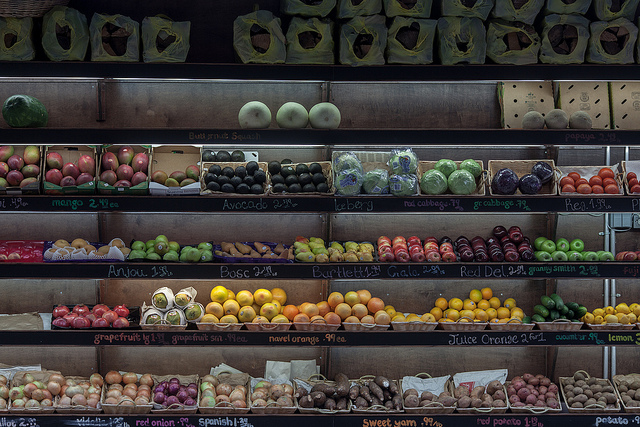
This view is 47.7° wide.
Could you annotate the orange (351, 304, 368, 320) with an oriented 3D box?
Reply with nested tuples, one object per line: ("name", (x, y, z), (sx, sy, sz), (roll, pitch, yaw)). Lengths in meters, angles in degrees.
("orange", (0.409, 0.993, 7.391), (0.130, 0.141, 0.139), (0, 2, -41))

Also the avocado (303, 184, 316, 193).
("avocado", (-0.107, -0.258, 7.247), (0.073, 0.052, 0.090), (2, 8, 16))

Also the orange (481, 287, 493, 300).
("orange", (1.777, 0.846, 7.682), (0.105, 0.112, 0.109), (-17, 3, 7))

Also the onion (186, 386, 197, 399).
("onion", (-1.287, 1.792, 7.266), (0.107, 0.117, 0.053), (2, -13, -12))

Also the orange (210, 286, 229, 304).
("orange", (-1.030, 0.830, 7.480), (0.178, 0.178, 0.091), (1, -13, -11))

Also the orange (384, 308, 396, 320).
("orange", (0.729, 1.025, 7.490), (0.088, 0.094, 0.108), (8, 9, -14))

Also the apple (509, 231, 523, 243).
("apple", (2.029, 0.236, 7.465), (0.110, 0.118, 0.105), (-1, -6, 3))

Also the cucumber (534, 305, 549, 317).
("cucumber", (2.290, 0.984, 7.461), (0.121, 0.092, 0.064), (32, -25, 43))

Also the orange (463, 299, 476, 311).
("orange", (1.573, 0.956, 7.587), (0.117, 0.111, 0.073), (0, -13, -4))

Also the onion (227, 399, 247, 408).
("onion", (-0.789, 1.883, 7.187), (0.111, 0.065, 0.090), (4, 2, 36))

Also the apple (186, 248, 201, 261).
("apple", (-1.262, 0.414, 7.261), (0.116, 0.118, 0.107), (-27, -18, -14))

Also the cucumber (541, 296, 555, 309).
("cucumber", (2.364, 0.913, 7.486), (0.088, 0.066, 0.118), (-6, 27, -28))

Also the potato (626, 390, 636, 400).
("potato", (3.158, 1.820, 7.322), (0.071, 0.076, 0.089), (6, 10, -3))

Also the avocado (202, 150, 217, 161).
("avocado", (-1.144, -0.611, 7.473), (0.107, 0.116, 0.066), (6, -33, -14))

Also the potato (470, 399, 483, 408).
("potato", (1.574, 1.896, 7.233), (0.128, 0.080, 0.048), (4, -14, -21))

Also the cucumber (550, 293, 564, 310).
("cucumber", (2.470, 0.912, 7.511), (0.126, 0.170, 0.127), (2, -13, -12))

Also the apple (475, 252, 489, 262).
("apple", (1.655, 0.438, 7.345), (0.152, 0.090, 0.077), (0, -13, -4))

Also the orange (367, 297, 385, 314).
("orange", (0.582, 0.937, 7.515), (0.138, 0.135, 0.140), (19, -28, -14))

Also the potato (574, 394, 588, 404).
("potato", (2.643, 1.868, 7.306), (0.127, 0.087, 0.040), (0, -13, -6))

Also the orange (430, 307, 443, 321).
("orange", (1.229, 1.048, 7.557), (0.109, 0.134, 0.110), (-5, -1, -44))

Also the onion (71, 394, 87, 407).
("onion", (-2.374, 1.837, 7.136), (0.150, 0.110, 0.041), (3, -14, -17))

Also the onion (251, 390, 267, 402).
("onion", (-0.612, 1.822, 7.256), (0.092, 0.066, 0.112), (2, 1, 38))

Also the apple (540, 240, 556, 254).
("apple", (2.363, 0.324, 7.455), (0.112, 0.113, 0.117), (14, 36, 28))

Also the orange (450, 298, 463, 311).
("orange", (1.440, 0.950, 7.598), (0.108, 0.118, 0.113), (2, -8, -9))

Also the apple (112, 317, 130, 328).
("apple", (-2.001, 1.098, 7.271), (0.109, 0.112, 0.107), (5, 2, 20))

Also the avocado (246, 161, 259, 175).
("avocado", (-0.680, -0.467, 7.270), (0.110, 0.087, 0.114), (1, -2, -15))

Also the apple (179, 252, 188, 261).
("apple", (-1.367, 0.432, 7.287), (0.087, 0.077, 0.039), (-8, -15, 28))

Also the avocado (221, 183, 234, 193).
("avocado", (-0.914, -0.257, 7.200), (0.098, 0.085, 0.080), (3, -6, 1))

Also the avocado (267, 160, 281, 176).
("avocado", (-0.460, -0.468, 7.344), (0.123, 0.154, 0.124), (1, -5, 41))

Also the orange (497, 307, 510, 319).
("orange", (1.903, 1.032, 7.481), (0.098, 0.102, 0.102), (-4, 23, -17))

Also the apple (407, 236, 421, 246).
("apple", (0.994, 0.281, 7.625), (0.139, 0.136, 0.200), (-3, -13, 6))

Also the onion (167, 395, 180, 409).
("onion", (-1.456, 1.858, 7.160), (0.098, 0.123, 0.098), (-17, -23, 33))

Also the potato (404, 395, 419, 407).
("potato", (0.918, 1.875, 7.257), (0.103, 0.107, 0.100), (1, -2, 12))

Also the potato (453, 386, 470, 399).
("potato", (1.441, 1.813, 7.343), (0.163, 0.122, 0.200), (-3, -13, 9))

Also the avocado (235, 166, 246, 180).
("avocado", (-0.793, -0.419, 7.308), (0.100, 0.114, 0.100), (6, -5, -38))

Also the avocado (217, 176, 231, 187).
("avocado", (-0.962, -0.336, 7.219), (0.094, 0.096, 0.099), (-8, -52, -5))

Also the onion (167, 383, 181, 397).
("onion", (-1.459, 1.759, 7.250), (0.129, 0.123, 0.062), (2, -13, -13))

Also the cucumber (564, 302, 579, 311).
("cucumber", (2.595, 0.946, 7.438), (0.121, 0.055, 0.059), (11, -42, 5))

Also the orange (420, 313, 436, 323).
("orange", (1.121, 1.070, 7.438), (0.148, 0.112, 0.224), (-3, -13, 8))

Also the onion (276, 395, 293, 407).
("onion", (-0.343, 1.863, 7.195), (0.102, 0.057, 0.103), (10, 22, 3))

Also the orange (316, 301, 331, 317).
("orange", (0.040, 0.973, 7.436), (0.124, 0.135, 0.129), (-7, -17, 17))

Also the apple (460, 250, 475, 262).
("apple", (1.508, 0.414, 7.327), (0.101, 0.069, 0.105), (11, 30, 19))

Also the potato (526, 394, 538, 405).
("potato", (2.131, 1.863, 7.265), (0.106, 0.097, 0.037), (-5, -13, 15))

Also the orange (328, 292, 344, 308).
("orange", (0.166, 0.877, 7.496), (0.140, 0.149, 0.087), (18, -25, -19))

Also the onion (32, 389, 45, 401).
("onion", (-2.777, 1.783, 7.125), (0.101, 0.102, 0.059), (37, -10, 1))

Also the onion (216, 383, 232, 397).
("onion", (-0.975, 1.785, 7.355), (0.110, 0.065, 0.114), (9, 9, -14))

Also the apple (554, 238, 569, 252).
("apple", (2.509, 0.321, 7.528), (0.120, 0.131, 0.119), (17, -11, -5))

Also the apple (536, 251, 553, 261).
("apple", (2.277, 0.433, 7.351), (0.150, 0.104, 0.104), (-2, 29, 39))

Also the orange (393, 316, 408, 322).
("orange", (0.822, 1.072, 7.369), (0.145, 0.067, 0.099), (-3, -13, 6))

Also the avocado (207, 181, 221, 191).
("avocado", (-1.044, -0.265, 7.208), (0.085, 0.090, 0.046), (21, -40, -2))

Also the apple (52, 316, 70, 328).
("apple", (-2.587, 1.066, 7.247), (0.107, 0.104, 0.108), (-1, 8, -40))

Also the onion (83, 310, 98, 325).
("onion", (-2.324, 1.044, 7.318), (0.127, 0.139, 0.108), (-10, -16, 34))

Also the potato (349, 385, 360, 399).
("potato", (0.351, 1.805, 7.308), (0.082, 0.049, 0.146), (3, 17, 7))

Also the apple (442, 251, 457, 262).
("apple", (1.315, 0.431, 7.325), (0.138, 0.119, 0.054), (-3, -13, 9))
